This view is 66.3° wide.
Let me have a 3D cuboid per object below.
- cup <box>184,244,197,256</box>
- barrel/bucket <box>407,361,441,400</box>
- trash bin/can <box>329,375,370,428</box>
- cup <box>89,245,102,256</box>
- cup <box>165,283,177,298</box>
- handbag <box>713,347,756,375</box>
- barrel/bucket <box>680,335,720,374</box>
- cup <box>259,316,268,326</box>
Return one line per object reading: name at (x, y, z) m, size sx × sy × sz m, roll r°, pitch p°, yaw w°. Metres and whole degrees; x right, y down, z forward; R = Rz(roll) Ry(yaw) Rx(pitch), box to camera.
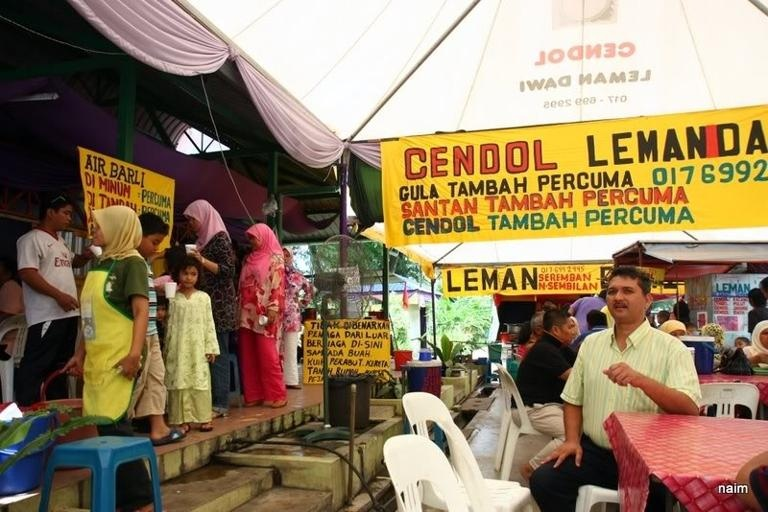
cup at (-2.138, -0.069, 6.510) m, size 0.127 × 0.108 × 0.125 m, roll -2°, pitch -10°, yaw 0°
barrel/bucket at (0.590, 1.768, 8.599) m, size 0.514 × 0.576 × 0.528 m, roll 0°, pitch -1°, yaw 0°
trash bin/can at (-0.439, 1.730, 7.109) m, size 0.607 × 0.606 × 0.594 m, roll 1°, pitch -3°, yaw 4°
cup at (-2.782, -0.058, 5.670) m, size 0.079 × 0.067 × 0.075 m, roll -24°, pitch -3°, yaw -1°
cup at (-2.172, 0.353, 6.027) m, size 0.132 × 0.151 × 0.135 m, roll -1°, pitch -12°, yaw 0°
handbag at (4.057, 1.109, 6.826) m, size 0.268 × 0.324 × 0.515 m, roll -3°, pitch -8°, yaw 13°
barrel/bucket at (3.795, 1.151, 7.086) m, size 0.477 × 0.423 × 0.420 m, roll 0°, pitch -7°, yaw 3°
cup at (-1.479, 0.784, 7.156) m, size 0.108 × 0.101 × 0.106 m, roll -2°, pitch 2°, yaw 0°
